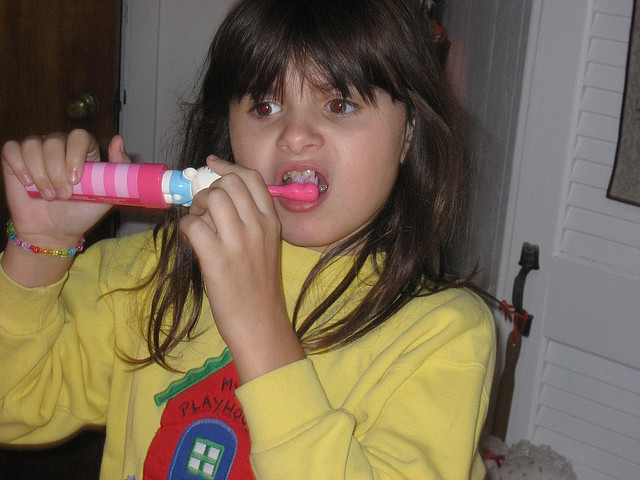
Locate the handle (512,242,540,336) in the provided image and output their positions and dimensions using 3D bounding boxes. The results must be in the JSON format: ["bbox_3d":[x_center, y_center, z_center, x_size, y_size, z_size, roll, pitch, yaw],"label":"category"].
[{"bbox_3d":[0.664,0.164,2.040,0.071,0.303,0.064,8,18,25],"label":"handle"}]

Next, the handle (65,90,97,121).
[{"bbox_3d":[-0.843,-0.475,2.235,0.098,0.103,0.041,0,17,-1],"label":"handle"}]

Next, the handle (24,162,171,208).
[{"bbox_3d":[-0.423,-0.118,1.219,0.280,0.085,0.073,6,11,14],"label":"handle"}]

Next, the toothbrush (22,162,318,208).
[{"bbox_3d":[-0.302,-0.093,1.158,0.593,0.091,0.139,3,19,7],"label":"toothbrush"}]
